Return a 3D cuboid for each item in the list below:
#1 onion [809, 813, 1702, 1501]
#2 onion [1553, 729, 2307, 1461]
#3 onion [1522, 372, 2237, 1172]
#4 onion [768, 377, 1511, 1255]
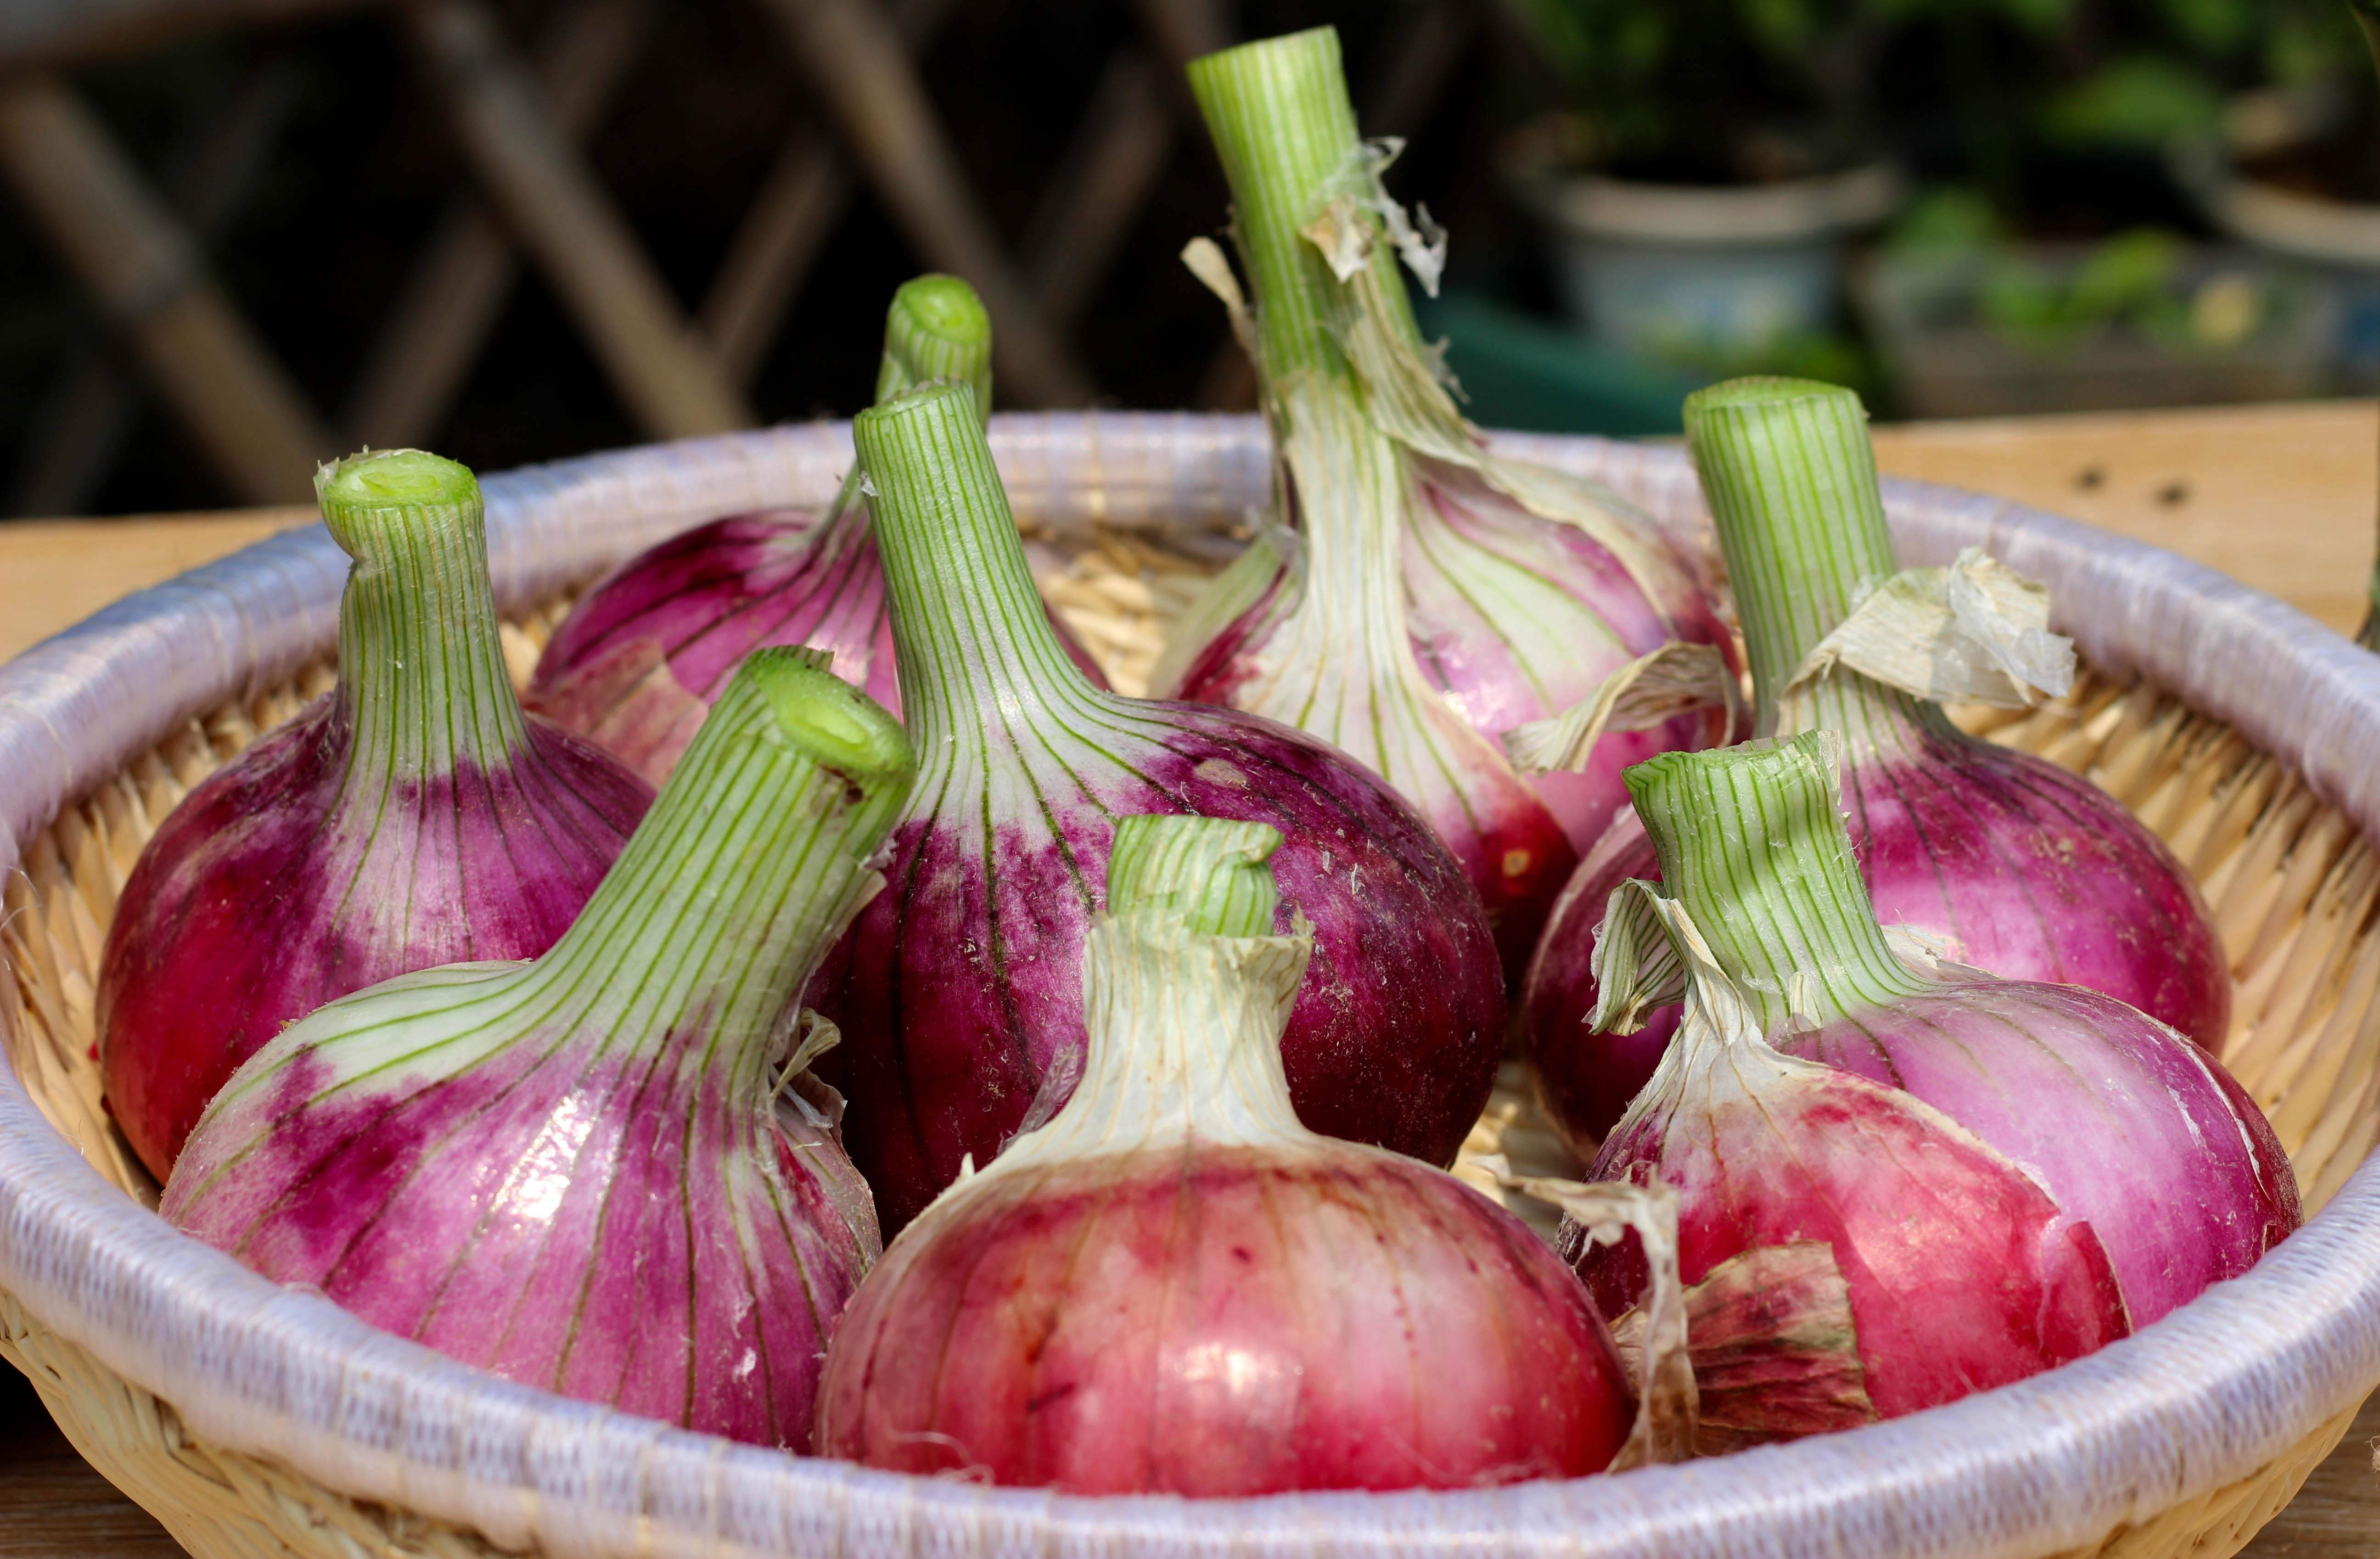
[{"bbox_3d":[0.027,0.192,1.269,0.307,0.368,0.333,-2,-3,38],"label":"onion"},{"bbox_3d":[0.377,0.190,1.528,0.379,0.436,0.385,-19,1,-7],"label":"onion"},{"bbox_3d":[0.464,0.066,1.642,0.377,0.568,0.390,-7,15,47],"label":"onion"},{"bbox_3d":[-0.102,0.094,1.717,0.425,0.650,0.450,-15,-6,-19],"label":"onion"}]
